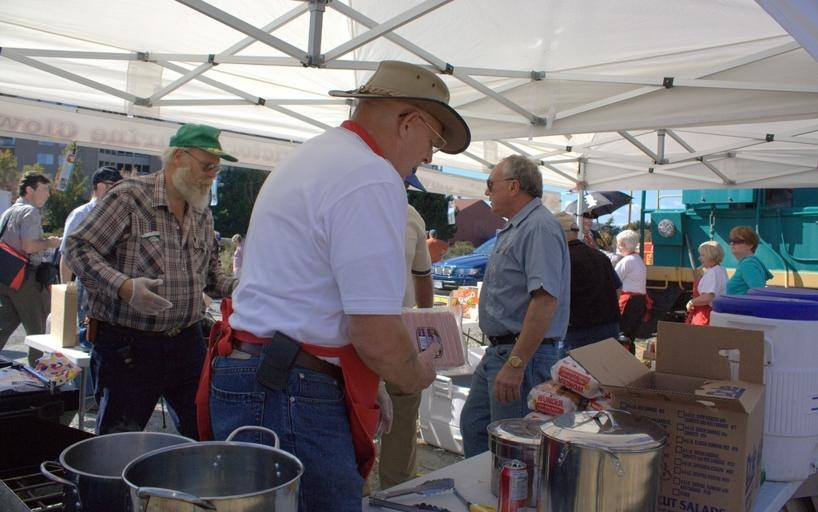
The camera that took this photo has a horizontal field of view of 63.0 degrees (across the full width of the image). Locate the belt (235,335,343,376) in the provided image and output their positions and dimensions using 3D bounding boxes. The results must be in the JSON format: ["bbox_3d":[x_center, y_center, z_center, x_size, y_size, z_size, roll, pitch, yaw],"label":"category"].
[{"bbox_3d":[-0.617,0.466,3.266,0.411,0.226,0.367,-1,-6,-2],"label":"belt"}]

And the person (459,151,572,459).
[{"bbox_3d":[0.727,0.349,4.707,0.710,2.244,0.685,2,-3,20],"label":"person"}]

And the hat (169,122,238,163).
[{"bbox_3d":[-1.524,-0.859,4.905,0.397,0.204,0.263,9,7,-14],"label":"hat"}]

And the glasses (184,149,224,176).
[{"bbox_3d":[-1.512,-0.677,4.850,0.185,0.062,0.181,33,6,14],"label":"glasses"}]

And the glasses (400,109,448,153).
[{"bbox_3d":[0.112,-0.666,3.519,0.054,0.194,0.190,-21,40,-22],"label":"glasses"}]

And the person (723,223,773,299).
[{"bbox_3d":[4.008,0.028,7.921,0.413,0.810,0.581,2,-3,26],"label":"person"}]

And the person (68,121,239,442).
[{"bbox_3d":[-1.849,0.167,4.915,0.992,2.459,1.035,-1,0,-4],"label":"person"}]
